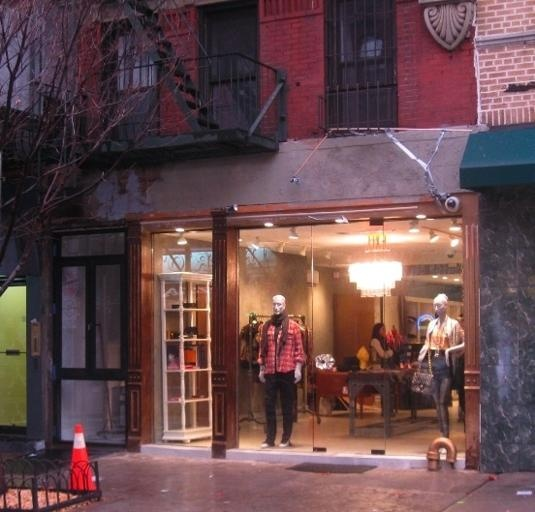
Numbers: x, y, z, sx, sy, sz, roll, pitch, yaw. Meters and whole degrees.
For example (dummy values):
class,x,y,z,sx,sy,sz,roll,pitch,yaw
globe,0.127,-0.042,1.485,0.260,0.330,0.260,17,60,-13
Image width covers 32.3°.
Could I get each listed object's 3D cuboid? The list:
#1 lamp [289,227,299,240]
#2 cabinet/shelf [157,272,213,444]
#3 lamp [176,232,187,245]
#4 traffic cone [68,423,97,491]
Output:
class,x,y,z,sx,sy,sz,roll,pitch,yaw
lamp,0.356,-0.305,12.643,0.127,0.167,0.130,-3,4,-38
cabinet/shelf,-1.109,1.455,13.387,0.589,2.457,0.529,-2,-4,-9
lamp,-1.264,-0.251,13.544,0.123,0.175,0.150,0,-4,-5
traffic cone,-2.063,2.220,10.251,0.275,0.695,1.077,-1,-8,-12
